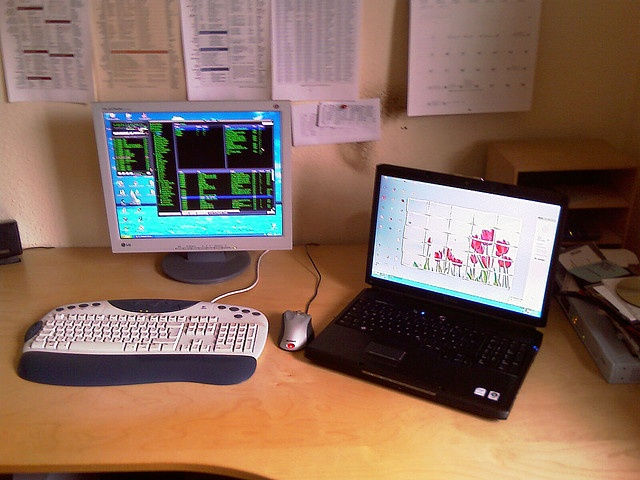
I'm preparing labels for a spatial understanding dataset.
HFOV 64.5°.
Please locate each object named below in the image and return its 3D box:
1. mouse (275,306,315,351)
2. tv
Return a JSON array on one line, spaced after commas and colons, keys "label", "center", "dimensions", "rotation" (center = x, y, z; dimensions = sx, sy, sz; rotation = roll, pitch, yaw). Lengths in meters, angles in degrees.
[{"label": "mouse", "center": [-0.064, 0.216, 1.235], "dimensions": [0.066, 0.034, 0.097], "rotation": [2, 33, -1]}, {"label": "tv", "center": [-0.350, -0.144, 1.428], "dimensions": [0.620, 0.495, 0.256], "rotation": [0, 32, -2]}]
